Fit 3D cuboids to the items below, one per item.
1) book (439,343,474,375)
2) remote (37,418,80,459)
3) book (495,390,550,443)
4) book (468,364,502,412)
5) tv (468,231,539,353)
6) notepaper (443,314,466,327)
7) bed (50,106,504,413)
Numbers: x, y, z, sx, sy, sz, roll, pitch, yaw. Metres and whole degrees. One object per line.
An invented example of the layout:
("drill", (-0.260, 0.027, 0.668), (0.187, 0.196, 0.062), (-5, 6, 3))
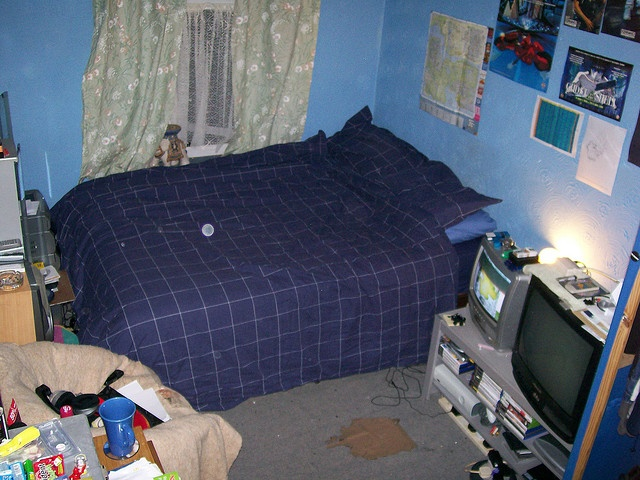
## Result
("book", (0.797, 0.676, 2.956), (0.153, 0.046, 0.157), (-9, 33, -30))
("remote", (-0.808, 0.613, 1.552), (0.063, 0.016, 0.144), (-6, 33, -36))
("book", (1.021, 0.904, 2.589), (0.194, 0.064, 0.199), (-1, 23, -27))
("book", (0.903, 0.805, 2.764), (0.052, 0.138, 0.175), (7, 26, -45))
("tv", (1.001, 0.305, 2.746), (0.247, 0.455, 0.481), (3, 35, -5))
("notepaper", (0.785, 0.464, 2.939), (0.079, 0.021, 0.076), (-4, 23, -4))
("bed", (-0.251, 0.284, 3.401), (2.280, 0.868, 1.841), (-9, 42, -22))
